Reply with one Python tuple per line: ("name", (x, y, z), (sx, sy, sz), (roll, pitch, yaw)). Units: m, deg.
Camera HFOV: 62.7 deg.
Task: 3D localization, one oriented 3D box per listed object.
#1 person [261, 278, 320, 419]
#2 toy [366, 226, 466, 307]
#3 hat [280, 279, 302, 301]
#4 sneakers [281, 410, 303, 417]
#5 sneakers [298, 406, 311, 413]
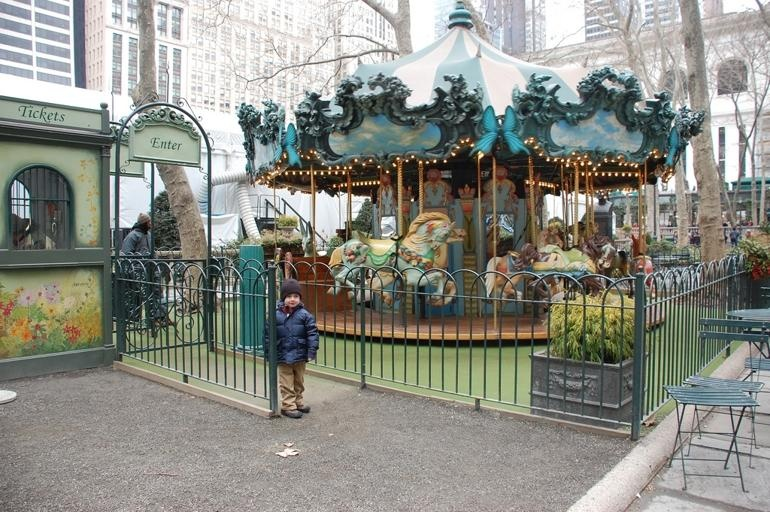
("person", (-1.426, 1.413, 9.808), (0.671, 1.963, 0.672), (8, 15, 30))
("toy", (0.705, 0.241, 13.624), (1.792, 1.441, 0.656), (1, 1, 23))
("hat", (-1.457, 0.549, 9.877), (0.272, 0.320, 0.313), (0, 0, -29))
("sneakers", (-1.413, 2.414, 9.752), (0.337, 0.177, 0.117), (-3, -1, 21))
("sneakers", (-1.238, 2.387, 9.815), (0.168, 0.086, 0.074), (-6, -3, 27))
